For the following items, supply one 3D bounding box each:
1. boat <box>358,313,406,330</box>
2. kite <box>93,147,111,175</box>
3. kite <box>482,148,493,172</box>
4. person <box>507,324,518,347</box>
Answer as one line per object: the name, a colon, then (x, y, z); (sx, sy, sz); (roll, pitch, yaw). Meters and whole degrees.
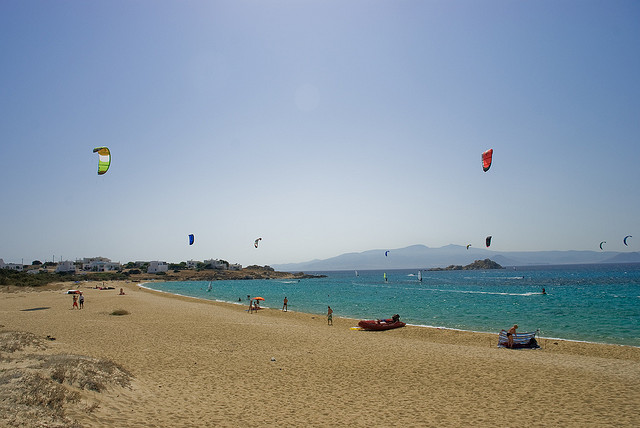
boat: (4.665, 8.170, 34.242); (2.811, 0.809, 1.274); (4, -11, -33)
kite: (-14.184, -3.478, 29.663); (0.641, 1.670, 0.628); (3, -11, -10)
kite: (10.412, -3.356, 28.297); (0.513, 1.768, 2.746); (-3, -11, 20)
person: (11.784, 7.375, 27.833); (0.528, 1.206, 1.244); (-4, -11, 24)
